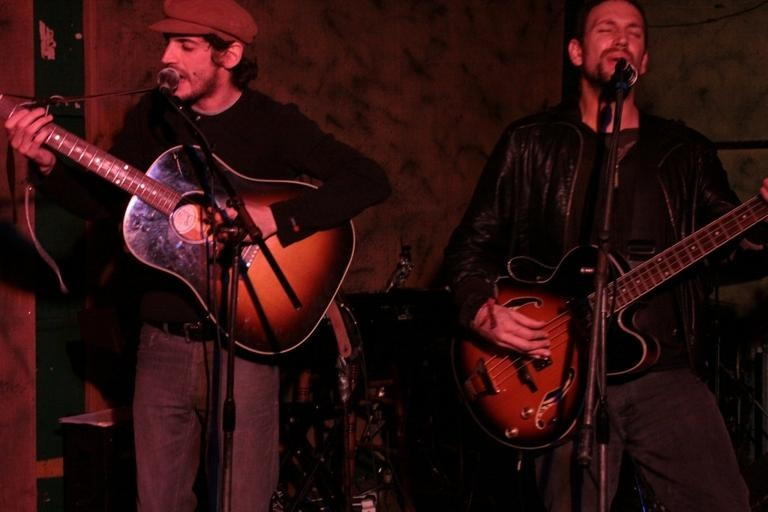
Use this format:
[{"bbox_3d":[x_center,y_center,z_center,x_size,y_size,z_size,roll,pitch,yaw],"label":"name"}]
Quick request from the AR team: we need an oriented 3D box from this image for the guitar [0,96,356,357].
[{"bbox_3d":[-0.966,-0.110,4.238,1.941,0.856,0.299,27,-5,-2],"label":"guitar"}]

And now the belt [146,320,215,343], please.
[{"bbox_3d":[-0.921,0.323,3.830,0.194,0.057,0.119,18,4,-5],"label":"belt"}]

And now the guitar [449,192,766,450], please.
[{"bbox_3d":[0.973,0.313,3.855,1.730,0.774,0.205,-33,-17,21],"label":"guitar"}]

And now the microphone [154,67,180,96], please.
[{"bbox_3d":[-0.944,-0.775,3.660,0.120,0.121,0.132,-2,30,-6],"label":"microphone"}]
